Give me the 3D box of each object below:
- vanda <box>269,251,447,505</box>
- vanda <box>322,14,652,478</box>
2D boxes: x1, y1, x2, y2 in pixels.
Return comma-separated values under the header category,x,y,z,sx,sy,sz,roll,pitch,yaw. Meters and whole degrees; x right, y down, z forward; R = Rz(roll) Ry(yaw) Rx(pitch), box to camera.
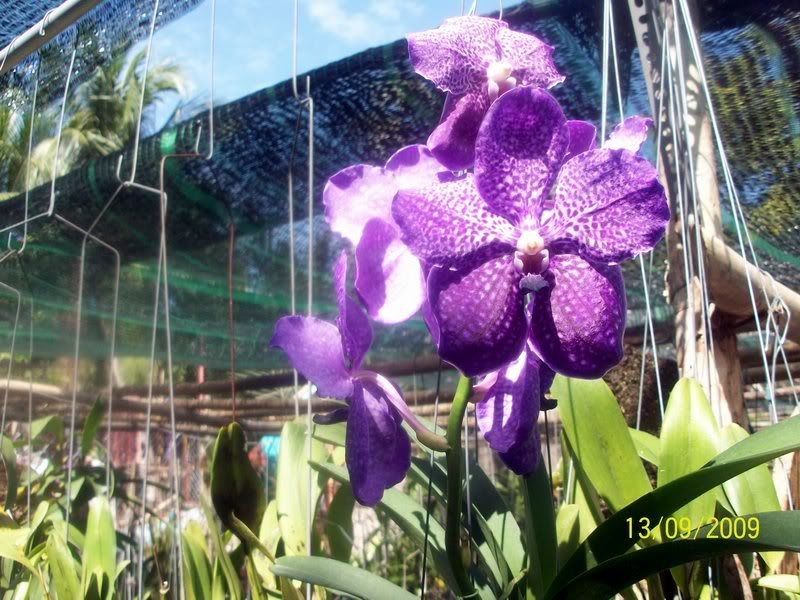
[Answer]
category,x,y,z,sx,sy,sz,roll,pitch,yaw
vanda,-0.073,0.148,1.257,0.320,0.442,0.210,2,18,8
vanda,0.132,-0.077,1.432,0.536,0.674,0.635,1,-27,-19
